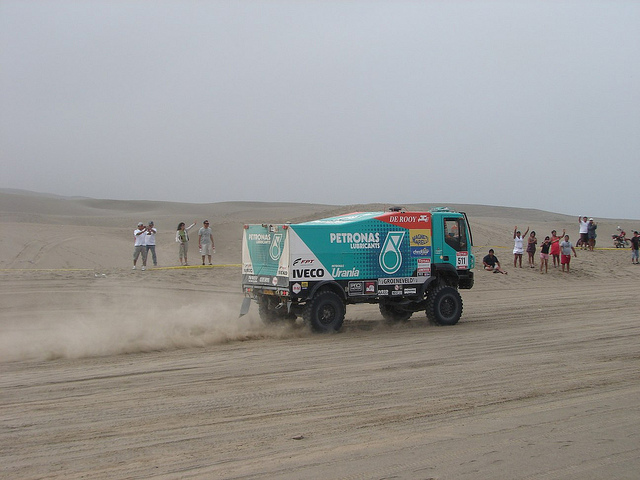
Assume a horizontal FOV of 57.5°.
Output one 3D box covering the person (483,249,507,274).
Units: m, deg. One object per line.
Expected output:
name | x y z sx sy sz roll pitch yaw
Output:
person | 7.493 0.864 25.010 0.687 0.926 1.157 -9 14 -24

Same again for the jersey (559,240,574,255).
jersey | 11.297 0.365 26.861 0.569 0.663 0.325 5 16 29

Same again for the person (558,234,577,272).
person | 10.933 0.606 26.148 0.557 1.635 1.762 0 -1 22

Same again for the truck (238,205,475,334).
truck | 0.736 0.540 15.416 5.246 3.224 2.990 -3 3 -23

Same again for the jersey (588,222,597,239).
jersey | 15.069 -0.524 32.480 0.351 0.893 0.597 0 -1 25

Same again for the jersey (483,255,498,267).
jersey | 7.321 1.016 25.151 0.667 0.667 0.401 1 -5 2

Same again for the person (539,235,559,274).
person | 10.225 0.653 26.189 0.743 1.574 1.626 0 -1 22

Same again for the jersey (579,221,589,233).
jersey | 15.157 -0.782 33.564 0.658 0.742 0.227 6 6 7

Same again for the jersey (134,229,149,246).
jersey | -7.069 -0.067 22.737 0.753 0.826 0.470 1 -1 -35

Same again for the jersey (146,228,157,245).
jersey | -6.808 -0.145 23.370 0.328 0.633 0.549 -1 10 -27

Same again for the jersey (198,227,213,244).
jersey | -4.854 -0.196 24.582 0.449 0.690 0.381 0 -1 -16
